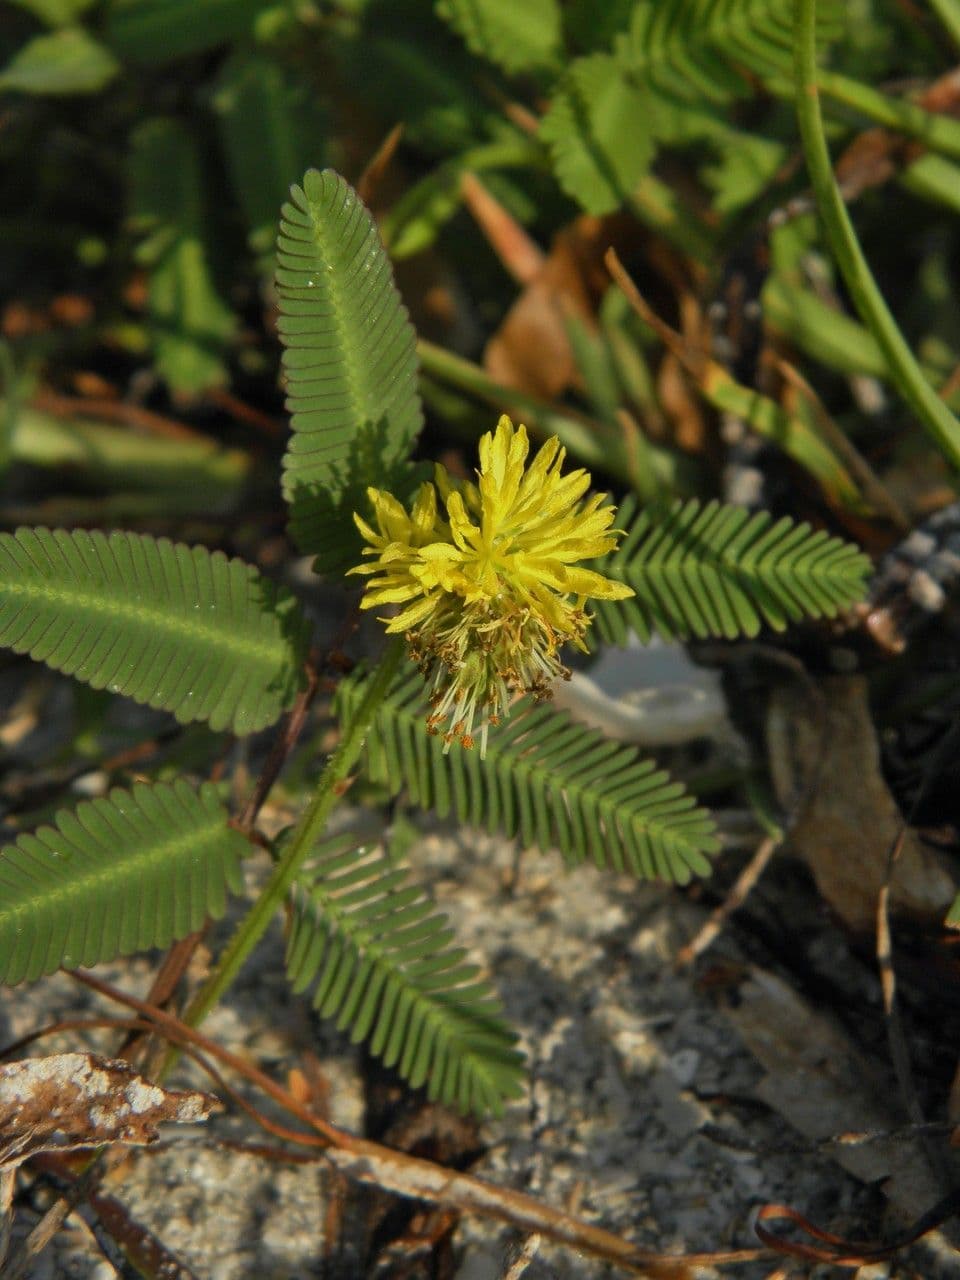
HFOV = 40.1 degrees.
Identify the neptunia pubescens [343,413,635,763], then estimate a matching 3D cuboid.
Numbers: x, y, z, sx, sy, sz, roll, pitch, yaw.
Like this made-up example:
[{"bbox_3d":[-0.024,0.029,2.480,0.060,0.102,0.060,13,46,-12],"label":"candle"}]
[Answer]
[{"bbox_3d":[0.017,-0.051,1.013,0.228,0.286,0.215,6,33,-5],"label":"neptunia pubescens"}]
